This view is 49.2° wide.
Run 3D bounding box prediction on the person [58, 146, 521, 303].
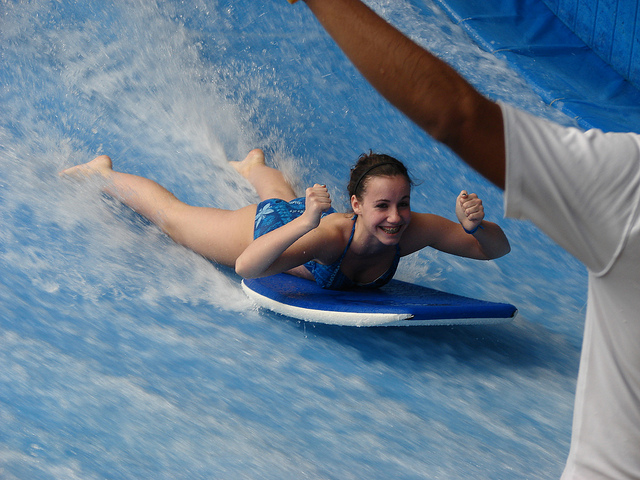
[{"bbox_3d":[-0.235,-0.197,3.883,1.355,0.493,2.316,-8,19,-37],"label":"person"}]
